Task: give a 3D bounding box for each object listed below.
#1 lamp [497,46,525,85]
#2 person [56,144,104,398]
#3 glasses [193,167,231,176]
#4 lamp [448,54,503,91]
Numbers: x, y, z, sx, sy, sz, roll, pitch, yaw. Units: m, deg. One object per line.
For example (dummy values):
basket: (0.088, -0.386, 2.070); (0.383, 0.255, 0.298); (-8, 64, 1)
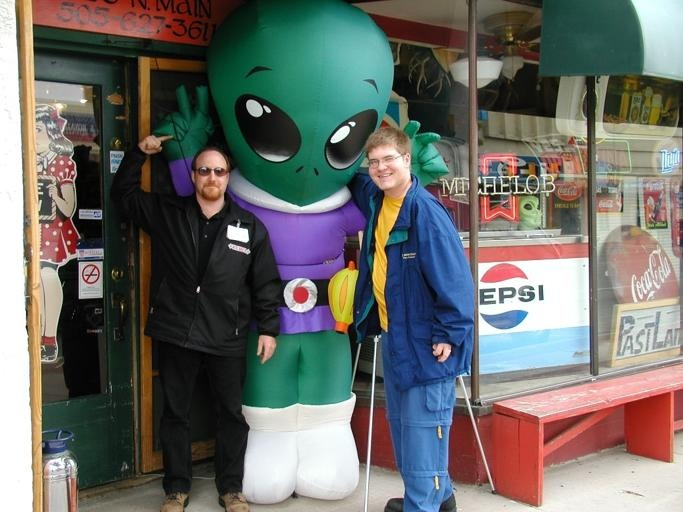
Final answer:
lamp: (1.260, -1.417, 4.886); (0.171, 0.250, 0.228); (0, -8, 4)
person: (-1.714, 0.100, 4.267); (0.274, 1.609, 0.155); (-2, 7, -22)
glasses: (-0.795, -0.509, 3.966); (0.199, 0.057, 0.099); (-1, 8, -15)
lamp: (0.998, -1.336, 4.780); (0.402, 0.241, 0.167); (-1, 7, -14)
